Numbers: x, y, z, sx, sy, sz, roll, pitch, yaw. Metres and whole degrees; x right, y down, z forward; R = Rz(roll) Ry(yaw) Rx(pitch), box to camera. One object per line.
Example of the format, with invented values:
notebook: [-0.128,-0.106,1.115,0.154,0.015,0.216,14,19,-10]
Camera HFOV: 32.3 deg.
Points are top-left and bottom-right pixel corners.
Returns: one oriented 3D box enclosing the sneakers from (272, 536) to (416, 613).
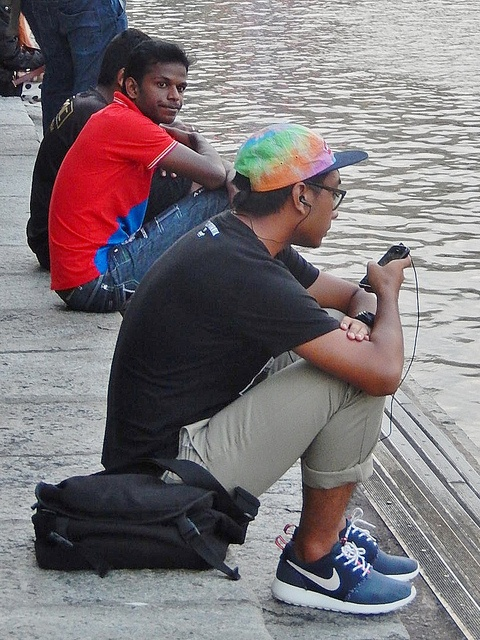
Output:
sneakers: [0.246,0.688,2.270,0.444,0.174,0.153,2,8,5]

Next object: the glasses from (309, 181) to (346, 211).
glasses: [0.245,-0.354,2.307,0.086,0.022,0.079,20,-8,-14]

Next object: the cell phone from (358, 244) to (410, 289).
cell phone: [0.476,-0.178,2.568,0.049,0.195,0.098,56,-10,-34]

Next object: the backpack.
backpack: [-0.232,0.462,2.013,0.457,0.165,0.323,1,-1,-5]

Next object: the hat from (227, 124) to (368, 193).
hat: [0.150,-0.491,2.347,0.447,0.139,0.272,-13,19,-11]

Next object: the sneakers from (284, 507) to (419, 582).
sneakers: [0.284,0.637,2.252,0.511,0.196,0.142,4,33,-21]
